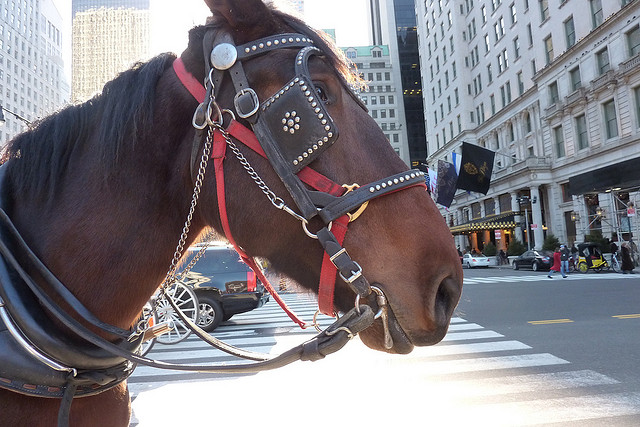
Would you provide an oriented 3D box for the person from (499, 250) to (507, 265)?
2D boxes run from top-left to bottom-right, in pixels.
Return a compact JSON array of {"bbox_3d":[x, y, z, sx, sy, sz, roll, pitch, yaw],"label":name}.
[{"bbox_3d":[12.975,3.154,38.549,0.502,1.052,1.326,-2,0,19],"label":"person"}]

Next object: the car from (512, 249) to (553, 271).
[{"bbox_3d":[11.397,2.600,28.842,1.068,1.163,2.948,-2,0,-1],"label":"car"}]

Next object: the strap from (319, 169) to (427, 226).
[{"bbox_3d":[0.281,-0.081,3.136,0.522,0.082,0.121,-23,-11,2],"label":"strap"}]

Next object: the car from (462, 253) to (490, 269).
[{"bbox_3d":[10.309,3.261,36.060,1.198,1.008,2.251,-2,0,1],"label":"car"}]

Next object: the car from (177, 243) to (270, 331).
[{"bbox_3d":[-2.048,1.423,10.887,2.849,1.441,1.658,4,-7,2],"label":"car"}]

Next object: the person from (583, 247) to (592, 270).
[{"bbox_3d":[11.936,2.022,24.265,0.155,1.017,0.502,-2,0,6],"label":"person"}]

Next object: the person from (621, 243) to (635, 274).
[{"bbox_3d":[12.470,1.852,22.158,0.556,1.367,0.322,-2,0,-40],"label":"person"}]

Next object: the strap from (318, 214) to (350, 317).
[{"bbox_3d":[0.095,0.313,3.140,0.114,0.483,0.344,8,-3,-2],"label":"strap"}]

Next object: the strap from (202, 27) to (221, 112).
[{"bbox_3d":[-0.677,-0.884,3.249,0.100,0.399,0.223,4,-4,-35],"label":"strap"}]

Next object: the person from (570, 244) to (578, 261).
[{"bbox_3d":[12.122,1.975,25.941,0.273,0.782,1.082,-2,0,25],"label":"person"}]

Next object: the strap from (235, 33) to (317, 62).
[{"bbox_3d":[-0.288,-1.023,3.280,0.280,0.067,0.245,-12,0,5],"label":"strap"}]

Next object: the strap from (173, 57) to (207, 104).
[{"bbox_3d":[-0.796,-0.815,3.337,0.064,0.263,0.234,-37,10,-12],"label":"strap"}]

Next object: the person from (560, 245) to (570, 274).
[{"bbox_3d":[10.616,2.073,23.631,0.398,1.291,1.481,-2,0,25],"label":"person"}]
